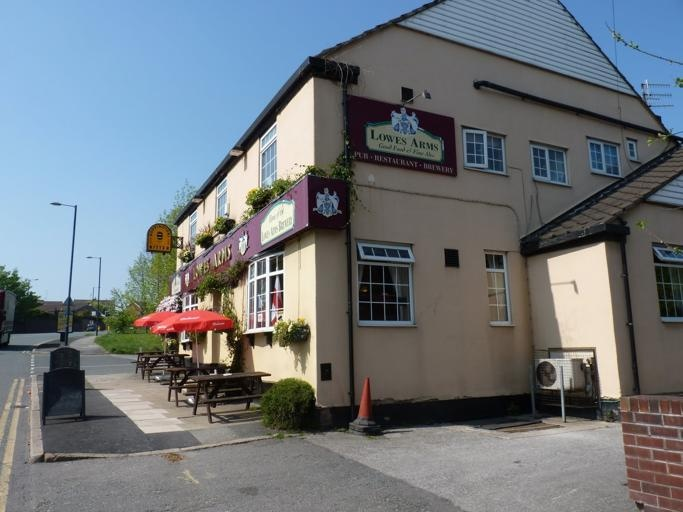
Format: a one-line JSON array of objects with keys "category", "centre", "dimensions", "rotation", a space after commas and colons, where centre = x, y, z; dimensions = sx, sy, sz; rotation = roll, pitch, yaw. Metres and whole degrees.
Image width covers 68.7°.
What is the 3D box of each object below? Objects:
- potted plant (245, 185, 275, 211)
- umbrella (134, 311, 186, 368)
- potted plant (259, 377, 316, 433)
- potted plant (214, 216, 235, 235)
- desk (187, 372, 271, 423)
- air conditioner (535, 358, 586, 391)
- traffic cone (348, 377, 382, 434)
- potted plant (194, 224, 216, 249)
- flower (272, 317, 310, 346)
[{"category": "potted plant", "centre": [-2.317, -1.701, 14.310], "dimensions": [0.409, 0.776, 1.277], "rotation": [10, -16, -41]}, {"category": "umbrella", "centre": [-7.373, 2.973, 20.251], "dimensions": [1.709, 2.838, 1.777], "rotation": [5, -5, -29]}, {"category": "potted plant", "centre": [-1.192, 3.289, 11.180], "dimensions": [1.158, 1.097, 0.616], "rotation": [0, -11, 1]}, {"category": "potted plant", "centre": [-4.325, -1.151, 18.373], "dimensions": [0.523, 0.754, 0.680], "rotation": [2, -9, -5]}, {"category": "desk", "centre": [-3.100, 3.781, 13.708], "dimensions": [2.073, 1.754, 2.236], "rotation": [4, 0, -31]}, {"category": "air conditioner", "centre": [5.702, 3.046, 13.002], "dimensions": [1.190, 0.777, 0.463], "rotation": [-7, -13, 27]}, {"category": "traffic cone", "centre": [0.519, 3.251, 11.215], "dimensions": [0.622, 1.274, 0.606], "rotation": [2, -8, -22]}, {"category": "potted plant", "centre": [-5.691, -0.918, 20.745], "dimensions": [0.672, 1.240, 1.332], "rotation": [4, -13, -22]}, {"category": "flower", "centre": [-1.179, 1.812, 11.955], "dimensions": [0.621, 0.564, 0.711], "rotation": [-6, -11, 28]}]
